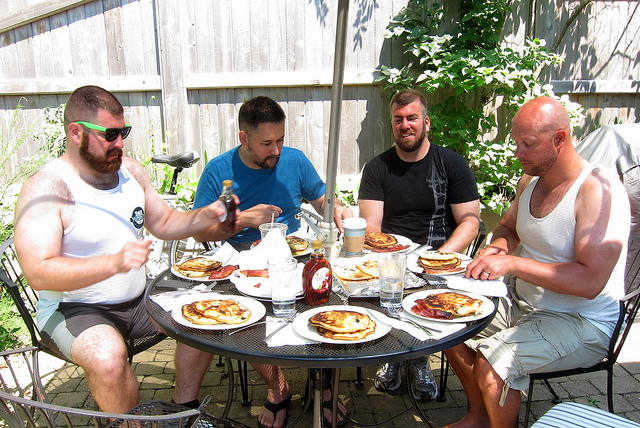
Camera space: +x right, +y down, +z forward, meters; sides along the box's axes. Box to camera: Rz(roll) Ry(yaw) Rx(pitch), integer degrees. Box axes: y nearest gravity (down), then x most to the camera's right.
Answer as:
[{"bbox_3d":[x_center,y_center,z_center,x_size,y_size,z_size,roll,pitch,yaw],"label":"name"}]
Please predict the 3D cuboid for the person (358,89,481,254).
[{"bbox_3d":[0.795,-0.289,3.335,0.996,1.353,1.018,-1,26,17],"label":"person"}]

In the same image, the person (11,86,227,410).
[{"bbox_3d":[-1.289,0.373,2.697,1.193,2.245,1.386,8,10,30],"label":"person"}]

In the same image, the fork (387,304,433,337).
[{"bbox_3d":[0.423,0.522,1.964,0.078,0.029,0.297,-8,16,-25],"label":"fork"}]

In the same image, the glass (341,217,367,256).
[{"bbox_3d":[0.225,0.143,2.615,0.140,0.261,0.145,-1,15,2],"label":"glass"}]

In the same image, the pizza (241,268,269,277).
[{"bbox_3d":[-0.368,0.352,2.394,0.217,0.051,0.070,3,-15,6],"label":"pizza"}]

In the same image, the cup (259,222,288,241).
[{"bbox_3d":[-0.288,0.099,2.440,0.119,0.086,0.118,2,3,0],"label":"cup"}]

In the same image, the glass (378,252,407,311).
[{"bbox_3d":[0.378,0.346,2.104,0.139,0.283,0.162,1,16,10],"label":"glass"}]

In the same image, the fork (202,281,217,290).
[{"bbox_3d":[-0.626,0.413,2.302,0.032,0.029,0.108,29,24,12],"label":"fork"}]
